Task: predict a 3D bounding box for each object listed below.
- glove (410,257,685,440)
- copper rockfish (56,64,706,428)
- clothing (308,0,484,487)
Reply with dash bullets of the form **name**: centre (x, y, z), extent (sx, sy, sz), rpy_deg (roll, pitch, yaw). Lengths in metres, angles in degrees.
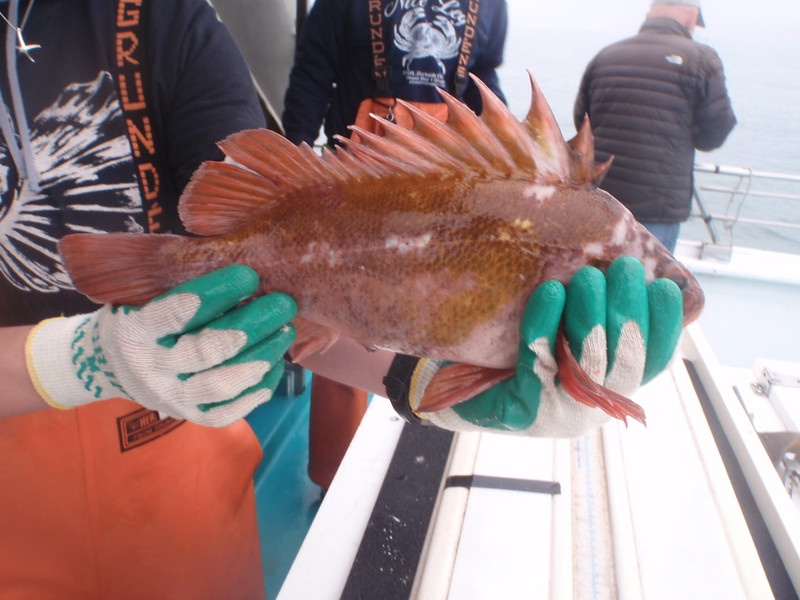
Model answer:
- **glove**: centre (0.393, 0.132, 1.465), extent (0.594, 0.331, 0.367), rpy_deg (-25, 23, -13)
- **copper rockfish**: centre (-0.019, -0.137, 1.476), extent (1.582, 0.885, 0.719), rpy_deg (3, 22, -11)
- **clothing**: centre (-0.113, -0.236, 2.927), extent (0.932, 2.389, 0.692), rpy_deg (15, 7, 25)
